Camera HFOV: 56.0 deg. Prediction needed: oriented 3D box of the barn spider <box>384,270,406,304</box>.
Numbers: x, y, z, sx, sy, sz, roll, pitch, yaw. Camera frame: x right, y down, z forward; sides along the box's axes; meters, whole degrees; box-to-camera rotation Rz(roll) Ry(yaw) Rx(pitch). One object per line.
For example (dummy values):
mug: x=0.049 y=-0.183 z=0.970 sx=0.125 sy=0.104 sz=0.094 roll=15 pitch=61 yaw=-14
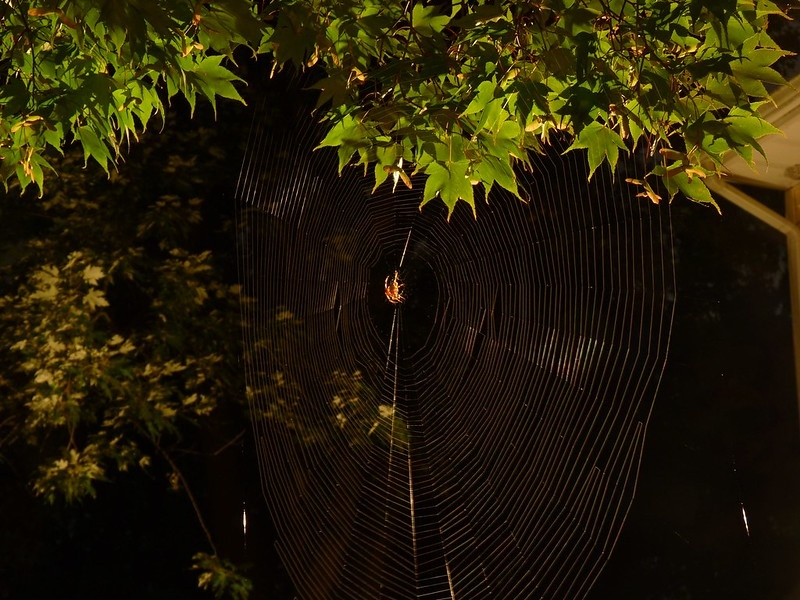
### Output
barn spider: x=-0.063 y=-0.149 z=8.793 sx=0.232 sy=0.362 sz=0.146 roll=-1 pitch=4 yaw=-12
